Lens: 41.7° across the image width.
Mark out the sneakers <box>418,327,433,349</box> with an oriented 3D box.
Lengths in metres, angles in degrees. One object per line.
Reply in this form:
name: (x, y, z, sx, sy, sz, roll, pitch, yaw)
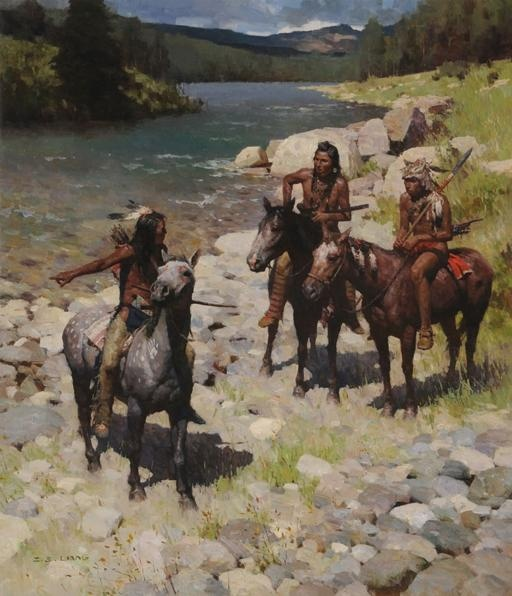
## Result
sneakers: (1.983, 0.478, 7.959, 0.159, 0.281, 0.235, 3, 13, 12)
